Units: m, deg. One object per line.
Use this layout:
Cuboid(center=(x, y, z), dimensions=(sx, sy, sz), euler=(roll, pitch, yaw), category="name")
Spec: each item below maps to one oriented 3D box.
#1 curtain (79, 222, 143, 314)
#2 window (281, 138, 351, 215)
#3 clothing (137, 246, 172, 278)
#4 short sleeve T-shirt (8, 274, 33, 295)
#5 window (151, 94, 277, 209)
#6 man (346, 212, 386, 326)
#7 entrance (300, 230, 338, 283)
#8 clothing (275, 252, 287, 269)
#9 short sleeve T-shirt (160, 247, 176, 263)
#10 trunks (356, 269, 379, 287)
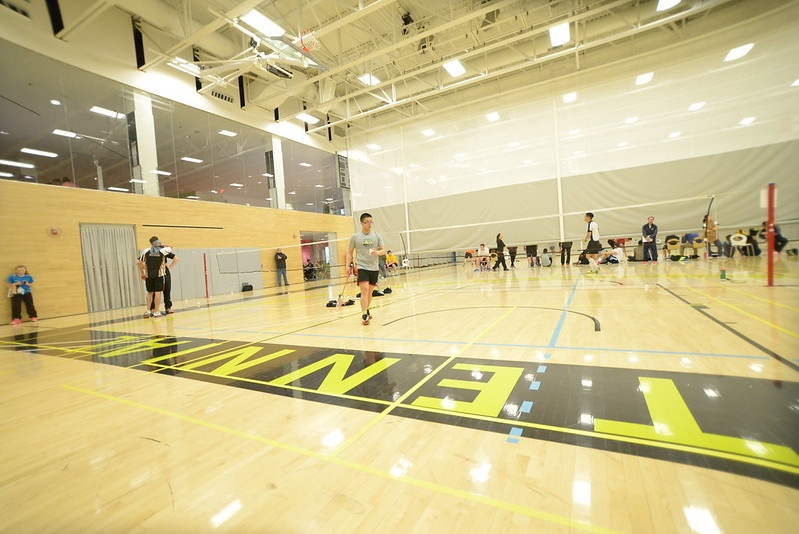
Cuboid(center=(-8.199, -0.016, 12.754), dimensions=(0.251, 2.511, 1.574), euler=(1, 11, 32), category="curtain")
Cuboid(center=(-3.761, -3.788, 19.778), dimensions=(0.057, 2.914, 5.209), euler=(-18, 24, -41), category="window")
Cuboid(center=(-5.437, -0.102, 10.061), dimensions=(0.508, 0.668, 0.570), euler=(0, 11, 28), category="clothing")
Cuboid(center=(-9.242, 0.438, 10.937), dimensions=(0.297, 0.477, 0.523), euler=(-7, -3, 27), category="short sleeve T-shirt")
Cuboid(center=(-6.397, -3.913, 15.188), dimensions=(0.066, 2.534, 4.867), euler=(-7, -6, 29), category="window")
Cuboid(center=(-0.589, -0.007, 8.139), dimensions=(0.675, 1.884, 1.599), euler=(-6, 9, -4), category="man")
Cuboid(center=(-3.604, -0.436, 20.289), dimensions=(2.380, 1.904, 0.189), euler=(8, 15, 38), category="entrance")
Cuboid(center=(-4.570, -0.256, 17.333), dimensions=(0.420, 0.666, 0.641), euler=(-8, 10, -13), category="clothing")
Cuboid(center=(-5.406, -0.256, 10.488), dimensions=(0.280, 0.347, 0.376), euler=(-18, 26, -24), category="short sleeve T-shirt")
Cuboid(center=(-0.550, 0.185, 7.846), dimensions=(0.395, 0.343, 0.242), euler=(-8, 10, -19), category="trunks")
